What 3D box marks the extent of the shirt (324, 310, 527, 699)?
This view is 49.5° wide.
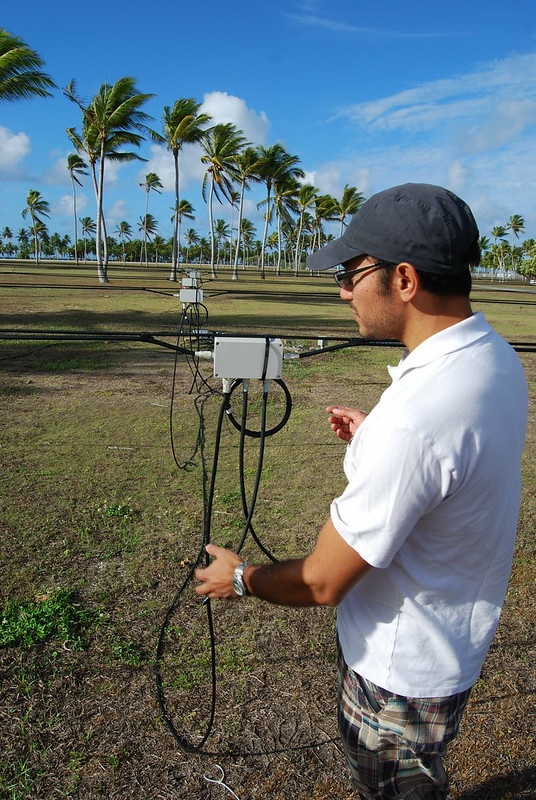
[{"bbox_3d":[0.320,0.234,1.160,0.390,0.787,0.281,3,13,4],"label":"shirt"}]

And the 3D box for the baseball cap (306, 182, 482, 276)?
[{"bbox_3d":[0.264,-0.365,1.236,0.379,0.182,0.261,12,30,21],"label":"baseball cap"}]
